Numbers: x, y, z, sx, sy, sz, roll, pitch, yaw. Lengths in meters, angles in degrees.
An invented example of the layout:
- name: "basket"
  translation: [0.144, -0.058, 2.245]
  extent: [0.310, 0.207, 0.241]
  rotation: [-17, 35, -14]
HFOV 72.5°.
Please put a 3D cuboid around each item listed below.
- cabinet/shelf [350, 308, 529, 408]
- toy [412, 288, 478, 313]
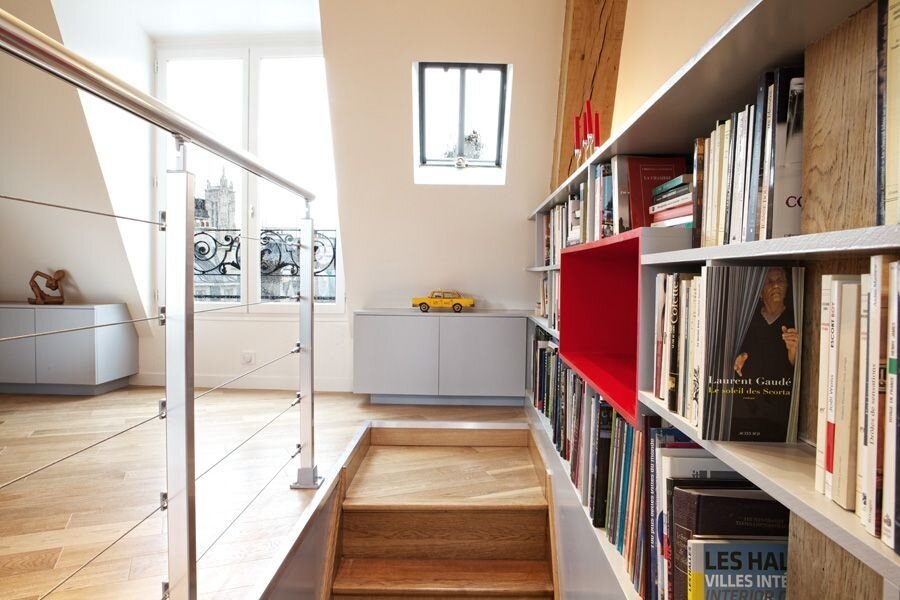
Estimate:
- name: "cabinet/shelf"
  translation: [-0.037, 0.408, 4.272]
  extent: [1.194, 0.665, 0.388]
  rotation: [0, 1, 9]
- name: "toy"
  translation: [-0.048, 0.013, 4.220]
  extent: [0.313, 0.119, 0.195]
  rotation: [2, -1, 0]
